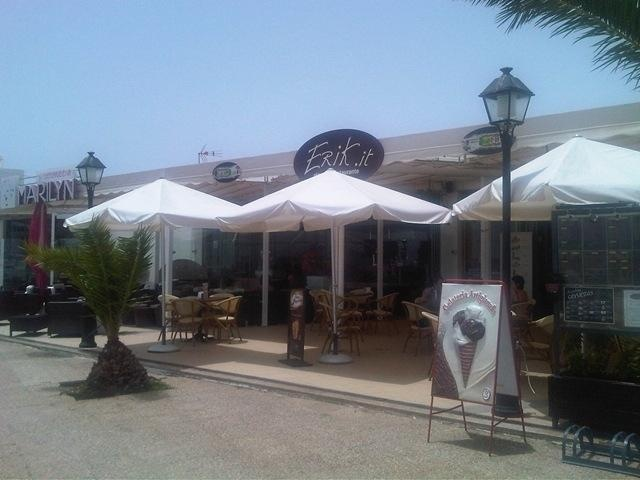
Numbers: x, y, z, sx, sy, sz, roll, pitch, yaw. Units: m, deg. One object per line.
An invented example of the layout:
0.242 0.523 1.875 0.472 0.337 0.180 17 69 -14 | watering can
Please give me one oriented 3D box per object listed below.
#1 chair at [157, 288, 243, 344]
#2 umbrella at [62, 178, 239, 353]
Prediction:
-2.545 1.664 11.230 1.370 0.772 1.347 4 -11 -23 | chair
-3.833 0.214 10.404 3.569 3.072 3.586 0 -3 22 | umbrella
